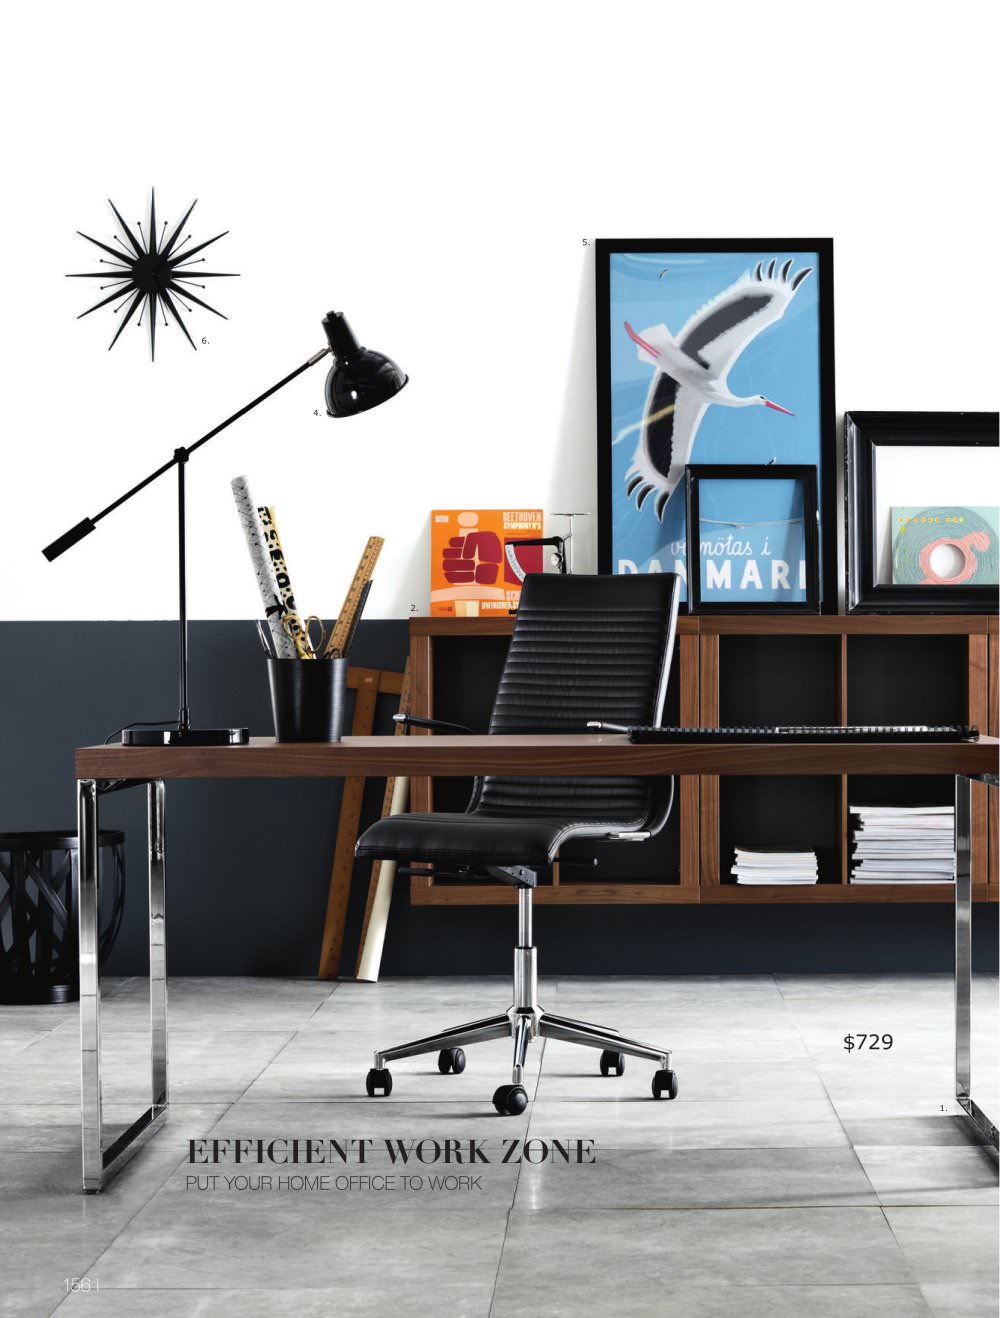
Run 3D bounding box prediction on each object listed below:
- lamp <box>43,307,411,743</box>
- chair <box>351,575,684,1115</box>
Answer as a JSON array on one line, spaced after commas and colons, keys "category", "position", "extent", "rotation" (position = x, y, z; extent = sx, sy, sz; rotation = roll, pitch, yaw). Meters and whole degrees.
[{"category": "lamp", "position": [-0.490, -0.235, 2.645], "extent": [0.679, 0.722, 0.178], "rotation": [0, -4, 1]}, {"category": "chair", "position": [0.106, 0.257, 2.932], "extent": [0.685, 1.045, 0.663], "rotation": [-1, -3, 14]}]
